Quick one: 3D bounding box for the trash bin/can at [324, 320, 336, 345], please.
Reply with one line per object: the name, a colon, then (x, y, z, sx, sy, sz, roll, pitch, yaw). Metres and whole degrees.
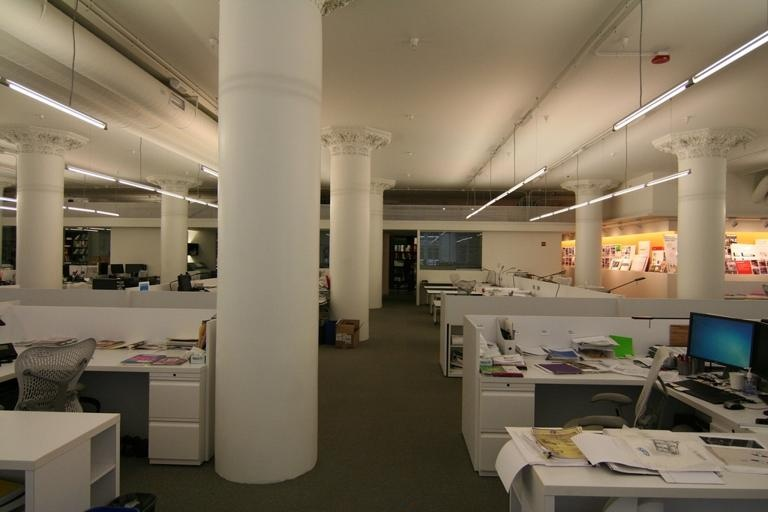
trash bin/can: (-1.172, 1.643, 11.158, 0.238, 0.464, 0.511, 1, 12, -7)

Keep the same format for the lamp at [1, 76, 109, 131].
lamp: (-4.810, -2.174, 7.487, 0.828, 0.536, 1.604, 3, 11, 6)

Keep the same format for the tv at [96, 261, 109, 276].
tv: (-10.380, 0.464, 19.241, 0.390, 0.697, 0.383, 3, -9, -16)

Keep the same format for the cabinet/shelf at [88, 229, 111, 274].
cabinet/shelf: (-12.161, -0.060, 22.463, 0.819, 1.297, 0.780, 0, 10, -41)

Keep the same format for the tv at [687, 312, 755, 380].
tv: (4.072, 1.031, 6.336, 0.079, 0.567, 0.787, 4, 1, -23)

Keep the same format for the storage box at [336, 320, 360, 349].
storage box: (-0.779, 1.622, 11.122, 0.428, 0.538, 0.822, 0, 0, 4)

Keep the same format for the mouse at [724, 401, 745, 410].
mouse: (3.843, 1.651, 5.763, 0.105, 0.034, 0.105, -1, 4, -1)

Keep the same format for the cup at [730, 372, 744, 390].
cup: (4.143, 1.476, 6.142, 0.152, 0.165, 0.183, 6, -6, -42)

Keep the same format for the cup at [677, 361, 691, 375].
cup: (3.728, 1.382, 6.487, 0.142, 0.175, 0.177, -1, -5, -7)

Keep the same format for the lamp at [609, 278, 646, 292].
lamp: (7.110, 0.843, 15.244, 1.622, 0.124, 0.227, -12, 10, -38)
